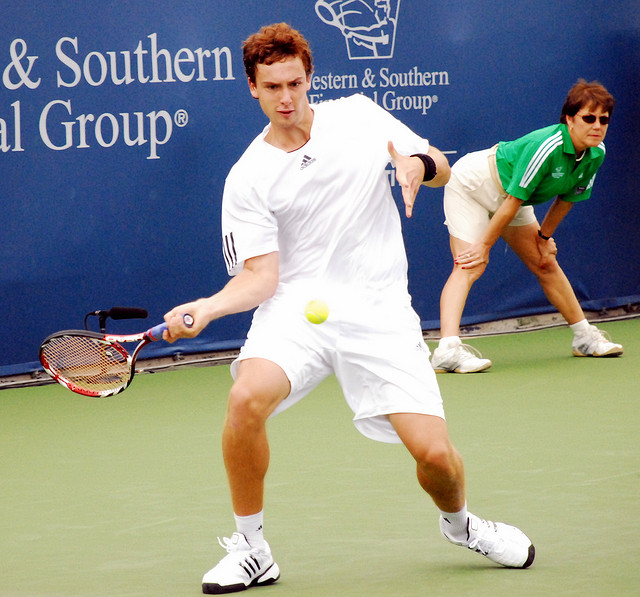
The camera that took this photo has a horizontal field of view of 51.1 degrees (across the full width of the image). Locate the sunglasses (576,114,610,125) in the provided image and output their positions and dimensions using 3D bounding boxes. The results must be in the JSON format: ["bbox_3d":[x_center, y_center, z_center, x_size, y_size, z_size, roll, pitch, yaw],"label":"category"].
[{"bbox_3d":[1.654,-1.079,4.014,0.211,0.075,0.074,-15,22,-23],"label":"sunglasses"}]

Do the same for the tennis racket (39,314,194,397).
[{"bbox_3d":[-0.632,0.154,2.162,0.269,0.052,0.672,37,19,4],"label":"tennis racket"}]

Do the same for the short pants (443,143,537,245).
[{"bbox_3d":[1.102,-0.657,4.276,0.686,0.530,0.265,7,4,-45],"label":"short pants"}]

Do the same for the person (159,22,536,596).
[{"bbox_3d":[0.008,0.006,1.942,0.844,1.527,0.949,-5,20,5],"label":"person"}]

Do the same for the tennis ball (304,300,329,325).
[{"bbox_3d":[-0.009,0.034,1.849,0.064,0.062,0.063,19,1,-1],"label":"tennis ball"}]

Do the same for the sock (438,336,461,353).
[{"bbox_3d":[0.826,0.269,4.296,0.091,0.130,0.128,8,2,-16],"label":"sock"}]

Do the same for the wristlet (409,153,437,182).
[{"bbox_3d":[0.324,-0.410,2.109,0.038,0.073,0.083,-3,-14,25],"label":"wristlet"}]

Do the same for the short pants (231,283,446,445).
[{"bbox_3d":[0.039,0.223,2.080,0.613,0.325,0.556,12,57,-1],"label":"short pants"}]

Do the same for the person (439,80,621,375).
[{"bbox_3d":[1.372,-0.463,4.429,1.417,1.801,1.155,-2,6,-8],"label":"person"}]

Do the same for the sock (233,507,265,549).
[{"bbox_3d":[-0.180,0.607,1.792,0.082,0.105,0.067,-17,22,-26],"label":"sock"}]
